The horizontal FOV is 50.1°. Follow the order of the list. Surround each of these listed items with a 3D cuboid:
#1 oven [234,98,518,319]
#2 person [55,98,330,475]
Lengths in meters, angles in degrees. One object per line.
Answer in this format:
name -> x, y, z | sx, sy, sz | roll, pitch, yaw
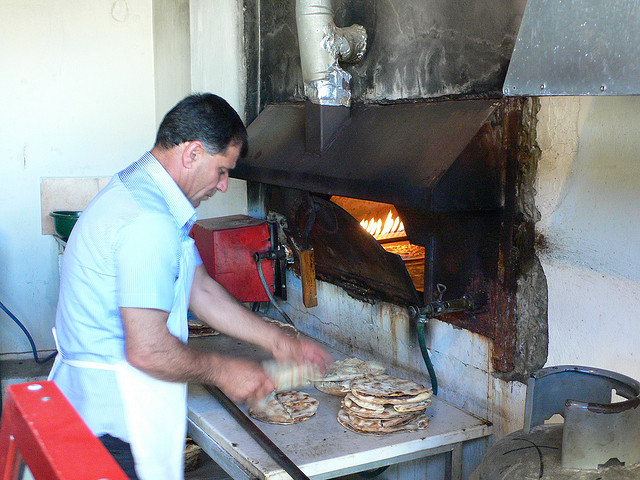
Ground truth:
oven -> 0.100, -0.169, 3.166 | 0.411, 0.979, 1.321 | -14, 19, -42
person -> -0.551, 0.179, 2.340 | 0.704, 1.280, 0.377 | -6, 14, -26
